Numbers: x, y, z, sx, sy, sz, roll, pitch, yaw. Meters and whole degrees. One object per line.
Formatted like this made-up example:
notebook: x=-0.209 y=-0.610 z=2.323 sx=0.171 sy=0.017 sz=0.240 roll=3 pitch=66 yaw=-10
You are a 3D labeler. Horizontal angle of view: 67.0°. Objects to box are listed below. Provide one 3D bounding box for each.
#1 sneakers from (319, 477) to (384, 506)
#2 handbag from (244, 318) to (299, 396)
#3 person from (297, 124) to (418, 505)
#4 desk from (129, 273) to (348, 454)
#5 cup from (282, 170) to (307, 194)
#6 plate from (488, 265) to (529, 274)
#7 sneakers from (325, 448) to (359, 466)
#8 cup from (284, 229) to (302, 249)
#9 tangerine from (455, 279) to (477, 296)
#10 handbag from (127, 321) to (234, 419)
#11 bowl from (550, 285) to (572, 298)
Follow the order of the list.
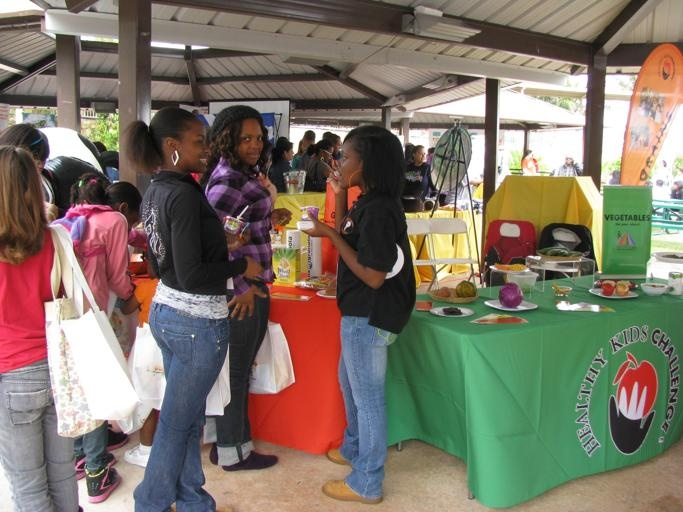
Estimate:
sneakers: x=0.042 y=1.160 z=2.599 sx=0.250 sy=0.092 sz=0.120 roll=6 pitch=2 yaw=9
handbag: x=-0.385 y=0.538 z=2.804 sx=0.183 sy=0.462 sz=0.389 roll=2 pitch=-10 yaw=-30
person: x=0.114 y=0.301 z=2.525 sx=0.461 sy=1.845 sz=0.429 roll=5 pitch=8 yaw=26
desk: x=-0.506 y=0.556 z=2.620 sx=0.973 sy=0.703 sz=0.384 roll=5 pitch=7 yaw=32
cup: x=-0.474 y=-0.756 z=5.336 sx=0.234 sy=0.256 sz=0.261 roll=0 pitch=1 yaw=-4
plate: x=1.026 y=0.077 z=3.147 sx=0.218 sy=0.036 sz=0.234 roll=3 pitch=7 yaw=19
sneakers: x=0.002 y=1.108 z=2.881 sx=0.146 sy=0.066 sz=0.068 roll=15 pitch=14 yaw=19
cup: x=-0.293 y=-0.108 z=3.200 sx=0.107 sy=0.120 sz=0.107 roll=1 pitch=12 yaw=0
tangerine: x=0.731 y=0.194 z=3.011 sx=0.096 sy=0.096 sz=0.095 roll=-13 pitch=-27 yaw=20
handbag: x=-0.726 y=0.523 z=2.375 sx=0.481 sy=0.459 sz=0.267 roll=7 pitch=11 yaw=8
bowl: x=1.318 y=0.208 z=3.080 sx=0.078 sy=0.056 sz=0.106 roll=0 pitch=14 yaw=0
